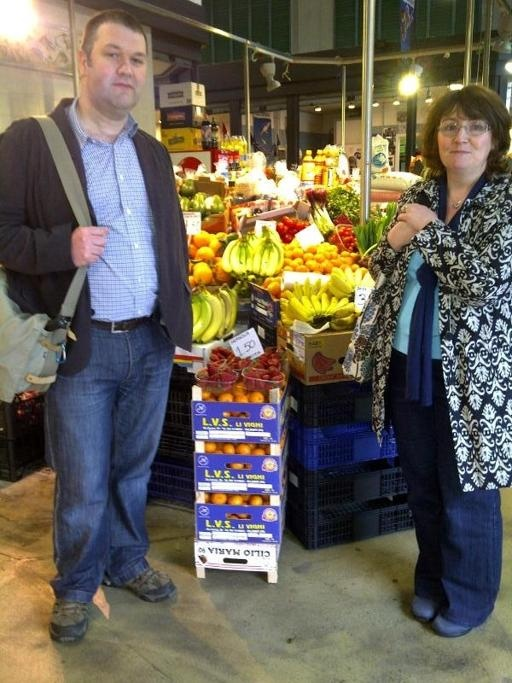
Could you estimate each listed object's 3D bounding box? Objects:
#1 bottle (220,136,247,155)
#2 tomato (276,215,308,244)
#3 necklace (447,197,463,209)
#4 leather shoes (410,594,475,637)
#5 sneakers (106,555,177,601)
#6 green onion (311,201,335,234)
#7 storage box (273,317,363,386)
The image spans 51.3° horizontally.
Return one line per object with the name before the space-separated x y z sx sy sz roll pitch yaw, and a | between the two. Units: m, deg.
bottle | -0.281 -2.471 6.688 0.468 0.202 0.570 -7 26 -16
tomato | 0.242 -0.776 3.678 0.192 0.120 0.249 -2 9 14
necklace | 0.606 -0.423 1.629 0.034 0.011 0.026 -41 47 -17
leather shoes | 0.634 0.951 1.825 0.076 0.080 0.198 -13 3 -19
sneakers | -0.484 0.937 2.136 0.300 0.124 0.107 4 16 17
green onion | 0.470 -0.866 3.771 0.094 0.106 0.346 -30 32 19
storage box | 0.255 0.056 2.363 0.281 0.251 0.167 1 2 -13
